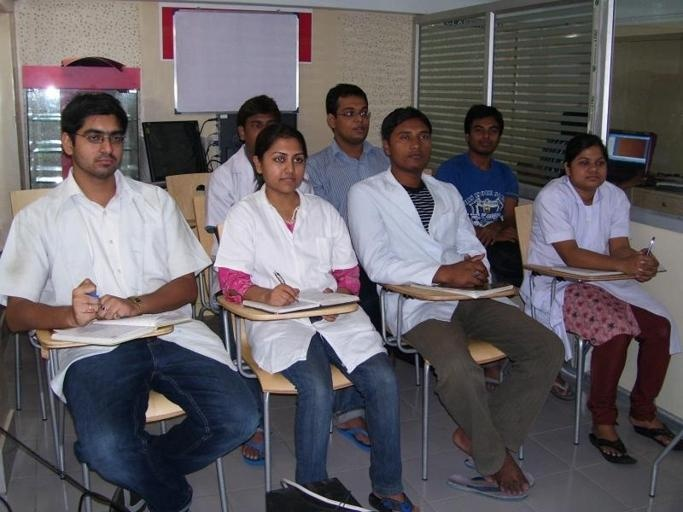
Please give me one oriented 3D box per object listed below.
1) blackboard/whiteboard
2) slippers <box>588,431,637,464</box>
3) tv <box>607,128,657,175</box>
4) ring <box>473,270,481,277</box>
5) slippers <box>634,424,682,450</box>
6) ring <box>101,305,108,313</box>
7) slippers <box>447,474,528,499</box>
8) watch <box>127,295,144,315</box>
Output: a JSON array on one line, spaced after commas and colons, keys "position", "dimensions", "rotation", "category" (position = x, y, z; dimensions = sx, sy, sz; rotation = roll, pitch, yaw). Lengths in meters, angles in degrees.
[{"position": [-1.113, -1.967, 5.488], "dimensions": [1.686, 1.210, 0.080], "rotation": [-3, 11, -18], "category": "blackboard/whiteboard"}, {"position": [1.411, 0.985, 2.850], "dimensions": [0.158, 0.075, 0.216], "rotation": [-2, 16, -1], "category": "slippers"}, {"position": [1.833, -0.653, 3.440], "dimensions": [0.288, 0.247, 0.104], "rotation": [12, 13, 38], "category": "tv"}, {"position": [0.660, 0.087, 2.678], "dimensions": [0.037, 0.033, 0.008], "rotation": [-3, -2, -23], "category": "ring"}, {"position": [1.700, 0.954, 2.948], "dimensions": [0.210, 0.068, 0.083], "rotation": [13, 24, 43], "category": "slippers"}, {"position": [-0.911, 0.201, 2.099], "dimensions": [0.022, 0.021, 0.009], "rotation": [1, -11, -14], "category": "ring"}, {"position": [0.690, 1.024, 2.549], "dimensions": [0.311, 0.082, 0.124], "rotation": [1, 7, 22], "category": "slippers"}, {"position": [-0.822, 0.190, 2.210], "dimensions": [0.053, 0.081, 0.074], "rotation": [-15, 42, -26], "category": "watch"}]
